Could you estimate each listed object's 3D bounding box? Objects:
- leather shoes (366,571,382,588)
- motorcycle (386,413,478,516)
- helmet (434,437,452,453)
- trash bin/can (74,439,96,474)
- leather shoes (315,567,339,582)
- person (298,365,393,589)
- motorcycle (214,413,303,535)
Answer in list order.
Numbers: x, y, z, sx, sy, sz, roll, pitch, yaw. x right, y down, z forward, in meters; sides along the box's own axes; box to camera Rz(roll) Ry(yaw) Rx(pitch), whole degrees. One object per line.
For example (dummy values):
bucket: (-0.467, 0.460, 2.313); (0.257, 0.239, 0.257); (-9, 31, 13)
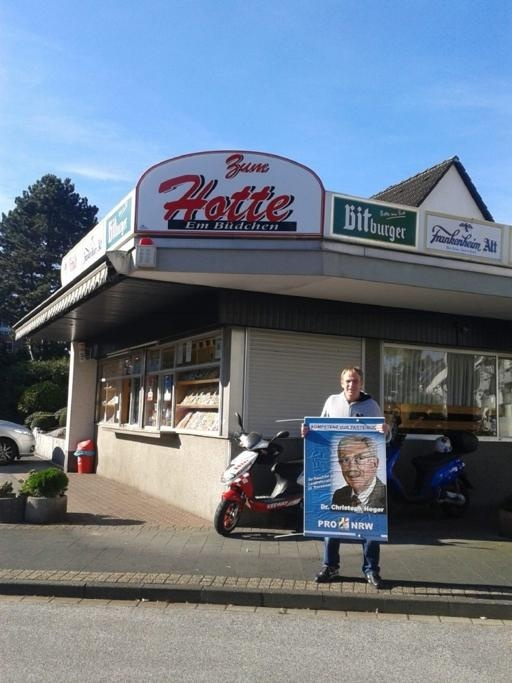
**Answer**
leather shoes: (0.962, 1.951, 5.199); (0.068, 0.061, 0.142); (18, -11, -7)
motorcycle: (2.190, 1.833, 9.066); (1.939, 1.232, 0.954); (11, -16, -32)
helmet: (2.610, 1.451, 8.909); (0.239, 0.203, 0.224); (5, -18, -3)
trash bin/can: (-3.884, 2.639, 14.410); (0.541, 0.745, 0.512); (-13, -27, 28)
leather shoes: (0.591, 1.971, 5.375); (0.252, 0.102, 0.087); (9, -14, -39)
person: (0.822, 1.137, 5.432); (0.856, 1.855, 0.642); (4, -9, -2)
motorcycle: (0.039, 1.591, 7.605); (1.118, 1.369, 1.038); (3, -7, -10)
